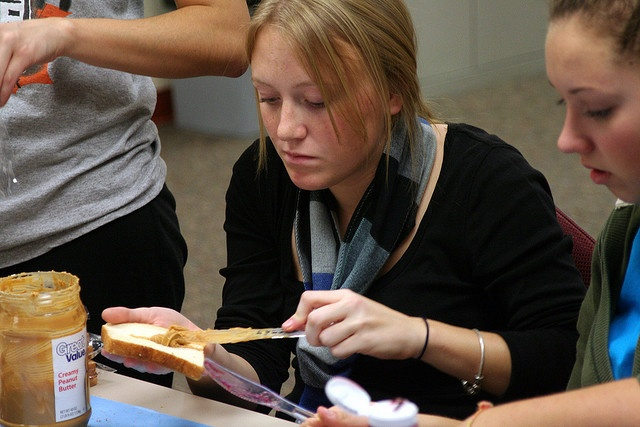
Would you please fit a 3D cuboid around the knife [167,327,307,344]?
[{"bbox_3d":[-0.201,0.288,1.310,0.323,0.046,0.104,-1,3,2],"label":"knife"}]

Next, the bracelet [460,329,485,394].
[{"bbox_3d":[0.372,0.357,1.318,0.039,0.125,0.113,4,0,5],"label":"bracelet"}]
